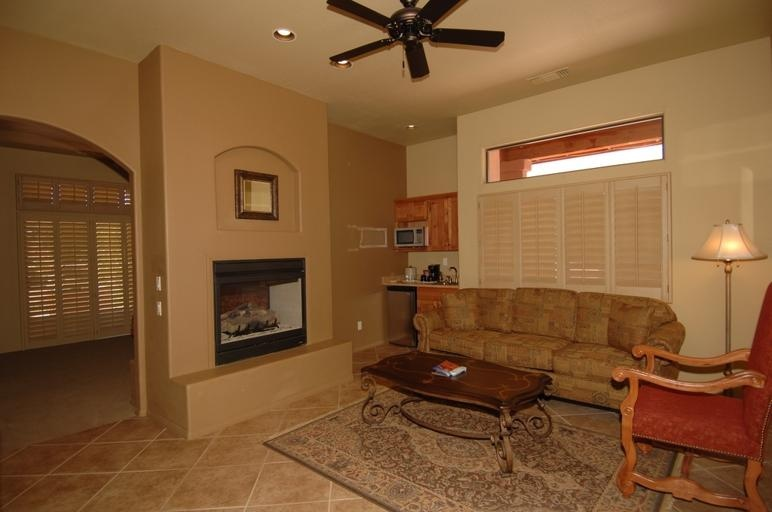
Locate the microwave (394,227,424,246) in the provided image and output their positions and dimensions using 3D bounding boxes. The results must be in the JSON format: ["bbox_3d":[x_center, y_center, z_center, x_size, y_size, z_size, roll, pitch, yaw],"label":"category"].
[{"bbox_3d":[0.408,-0.320,8.758,0.495,0.296,0.327,-2,-4,45],"label":"microwave"}]

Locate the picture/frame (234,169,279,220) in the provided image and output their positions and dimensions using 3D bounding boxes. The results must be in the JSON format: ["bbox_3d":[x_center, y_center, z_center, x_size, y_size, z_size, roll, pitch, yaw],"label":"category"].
[{"bbox_3d":[-1.705,-0.792,6.613,0.723,0.686,0.056,3,-4,-45],"label":"picture/frame"}]

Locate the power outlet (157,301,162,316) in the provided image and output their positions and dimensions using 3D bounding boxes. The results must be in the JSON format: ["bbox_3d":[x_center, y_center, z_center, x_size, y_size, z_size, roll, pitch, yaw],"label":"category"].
[{"bbox_3d":[-2.666,0.613,6.000,0.125,0.171,0.025,1,5,45],"label":"power outlet"}]

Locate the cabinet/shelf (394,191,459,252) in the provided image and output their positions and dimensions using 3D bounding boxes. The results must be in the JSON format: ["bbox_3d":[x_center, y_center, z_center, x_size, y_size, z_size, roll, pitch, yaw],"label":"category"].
[{"bbox_3d":[0.693,-0.569,8.699,0.290,0.931,1.272,-5,4,-38],"label":"cabinet/shelf"}]
